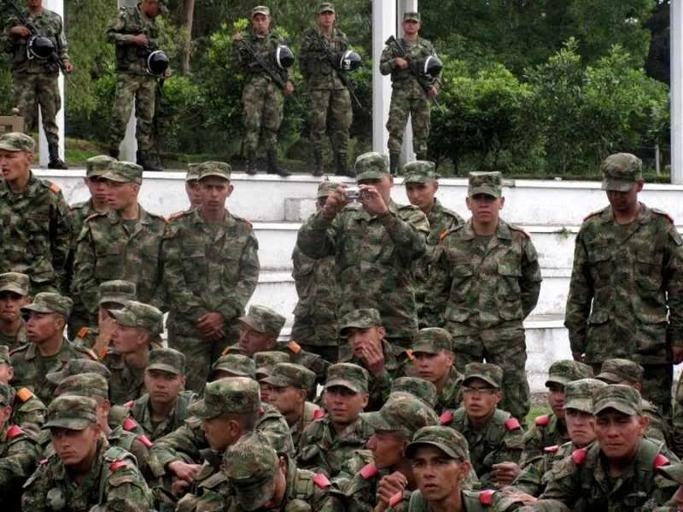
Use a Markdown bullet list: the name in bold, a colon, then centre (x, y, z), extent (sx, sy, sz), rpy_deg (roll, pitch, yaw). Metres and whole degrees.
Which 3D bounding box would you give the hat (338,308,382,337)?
- **hat**: centre (0.204, 0.765, 18.982), extent (0.462, 0.324, 0.313), rpy_deg (2, 4, 1)

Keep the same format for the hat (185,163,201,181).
- **hat**: centre (-1.853, -1.039, 21.034), extent (0.211, 0.232, 0.336), rpy_deg (2, -13, -3)

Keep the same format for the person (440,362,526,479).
- **person**: centre (1.462, 1.940, 18.703), extent (1.121, 1.504, 1.018), rpy_deg (1, 5, 16)

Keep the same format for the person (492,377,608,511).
- **person**: centre (2.312, 1.984, 18.057), extent (0.549, 1.318, 0.933), rpy_deg (28, -11, -17)

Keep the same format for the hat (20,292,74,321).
- **hat**: centre (-3.393, 0.597, 19.467), extent (0.448, 0.187, 0.308), rpy_deg (2, -4, -21)

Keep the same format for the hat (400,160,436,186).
- **hat**: centre (0.989, -1.012, 20.680), extent (0.255, 0.189, 0.340), rpy_deg (-5, -4, 31)

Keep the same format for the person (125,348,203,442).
- **person**: centre (-1.995, 1.619, 18.833), extent (1.077, 1.015, 0.609), rpy_deg (6, -14, -7)

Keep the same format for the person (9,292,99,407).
- **person**: centre (-3.299, 1.106, 19.137), extent (0.885, 1.216, 0.690), rpy_deg (-14, -18, 26)

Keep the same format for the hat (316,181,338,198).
- **hat**: centre (-0.180, -0.801, 20.604), extent (0.379, 0.219, 0.548), rpy_deg (-3, 0, 2)

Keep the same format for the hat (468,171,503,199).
- **hat**: centre (1.652, -0.817, 19.518), extent (0.381, 0.298, 0.306), rpy_deg (1, 4, 0)

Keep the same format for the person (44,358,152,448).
- **person**: centre (-2.666, 1.562, 18.253), extent (0.833, 0.743, 1.287), rpy_deg (2, 0, -40)

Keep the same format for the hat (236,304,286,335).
- **hat**: centre (-0.956, 0.756, 19.606), extent (0.433, 0.233, 0.329), rpy_deg (15, 5, -30)

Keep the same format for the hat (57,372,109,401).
- **hat**: centre (-2.754, 1.406, 17.952), extent (0.407, 0.228, 0.295), rpy_deg (1, -4, -5)

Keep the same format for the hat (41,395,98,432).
- **hat**: centre (-2.810, 1.649, 17.508), extent (0.334, 0.235, 0.450), rpy_deg (-3, -10, 18)

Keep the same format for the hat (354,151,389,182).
- **hat**: centre (0.343, -0.999, 19.193), extent (0.378, 0.324, 0.315), rpy_deg (1, 4, 1)

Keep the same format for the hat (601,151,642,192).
- **hat**: centre (3.193, -0.946, 19.267), extent (0.449, 0.436, 0.282), rpy_deg (2, 4, 10)

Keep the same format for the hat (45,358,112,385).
- **hat**: centre (-2.903, 1.259, 18.590), extent (0.534, 0.206, 0.362), rpy_deg (-2, -6, -8)

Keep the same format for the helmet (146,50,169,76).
- **helmet**: centre (-2.548, -2.667, 23.277), extent (0.278, 0.351, 0.280), rpy_deg (1, 4, -8)

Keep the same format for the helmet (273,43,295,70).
- **helmet**: centre (-0.827, -2.839, 24.027), extent (0.253, 0.273, 0.333), rpy_deg (0, -17, -14)

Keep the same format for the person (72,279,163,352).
- **person**: centre (-2.742, 0.696, 19.878), extent (0.672, 1.150, 0.582), rpy_deg (6, 12, 28)

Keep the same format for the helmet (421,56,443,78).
- **helmet**: centre (1.311, -2.775, 24.693), extent (0.276, 0.319, 0.343), rpy_deg (1, 4, 0)

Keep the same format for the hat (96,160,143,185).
- **hat**: centre (-2.597, -0.973, 19.996), extent (0.353, 0.182, 0.274), rpy_deg (4, 0, -19)

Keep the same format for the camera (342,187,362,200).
- **camera**: centre (0.113, -0.677, 18.761), extent (0.174, 0.124, 0.118), rpy_deg (1, -2, -18)

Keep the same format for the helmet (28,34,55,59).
- **helmet**: centre (-4.055, -2.811, 22.678), extent (0.349, 0.294, 0.310), rpy_deg (-6, 6, -37)

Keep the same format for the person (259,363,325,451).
- **person**: centre (-0.576, 1.671, 18.900), extent (0.733, 0.883, 0.543), rpy_deg (1, -6, -18)

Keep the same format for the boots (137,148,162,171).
- **boots**: centre (-2.696, -1.335, 23.690), extent (0.345, 0.373, 0.235), rpy_deg (-6, 7, -16)

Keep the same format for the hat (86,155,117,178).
- **hat**: centre (-2.935, -1.073, 20.558), extent (0.444, 0.228, 0.654), rpy_deg (-3, 1, -11)

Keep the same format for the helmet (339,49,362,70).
- **helmet**: centre (0.110, -2.831, 24.420), extent (0.307, 0.322, 0.286), rpy_deg (2, 4, 12)

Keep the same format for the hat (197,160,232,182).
- **hat**: centre (-1.533, -1.000, 20.162), extent (0.455, 0.253, 0.677), rpy_deg (2, 3, -2)

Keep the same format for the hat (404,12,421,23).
- **hat**: centre (1.030, -3.523, 24.893), extent (0.230, 0.181, 0.401), rpy_deg (2, 4, 1)

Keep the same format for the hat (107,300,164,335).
- **hat**: centre (-2.342, 0.740, 19.384), extent (0.497, 0.192, 0.363), rpy_deg (15, 4, -16)

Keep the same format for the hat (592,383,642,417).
- **hat**: centre (2.850, 1.511, 17.474), extent (0.489, 0.326, 0.273), rpy_deg (2, 4, 9)

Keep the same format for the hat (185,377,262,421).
- **hat**: centre (-1.203, 1.500, 17.655), extent (0.561, 0.229, 0.428), rpy_deg (-5, 2, 2)
